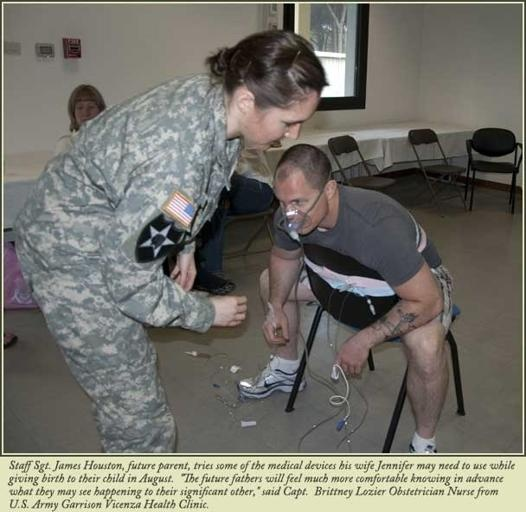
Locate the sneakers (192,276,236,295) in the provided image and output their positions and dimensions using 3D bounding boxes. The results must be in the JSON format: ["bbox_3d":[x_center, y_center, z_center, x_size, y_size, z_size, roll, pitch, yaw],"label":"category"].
[{"bbox_3d":[-0.360,0.205,3.391,0.315,0.095,0.129,4,17,18],"label":"sneakers"}]

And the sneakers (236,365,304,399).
[{"bbox_3d":[0.026,0.597,2.290,0.349,0.192,0.135,-2,19,-7],"label":"sneakers"}]
